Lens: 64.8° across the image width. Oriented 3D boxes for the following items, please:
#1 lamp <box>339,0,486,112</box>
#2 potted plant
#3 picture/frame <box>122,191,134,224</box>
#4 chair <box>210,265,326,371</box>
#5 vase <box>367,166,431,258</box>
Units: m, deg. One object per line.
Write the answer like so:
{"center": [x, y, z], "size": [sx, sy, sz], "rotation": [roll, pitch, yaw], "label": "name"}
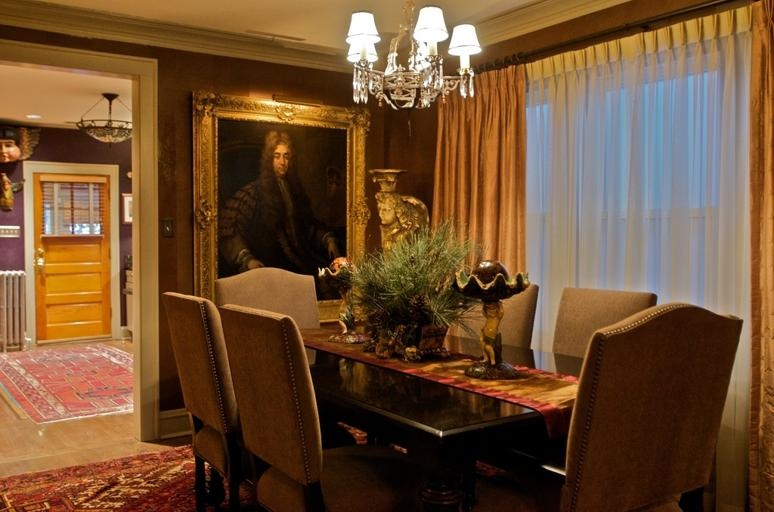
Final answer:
{"center": [0.235, -1.430, 4.306], "size": [0.818, 0.875, 1.517], "rotation": [0, 5, 8], "label": "lamp"}
{"center": [0.266, 0.207, 3.611], "size": [0.812, 0.928, 0.663], "rotation": [-2, 3, -22], "label": "potted plant"}
{"center": [-3.888, -0.712, 9.178], "size": [0.058, 0.454, 0.120], "rotation": [4, 7, 43], "label": "picture/frame"}
{"center": [-0.866, 0.465, 4.580], "size": [0.685, 1.003, 0.560], "rotation": [2, -7, -23], "label": "chair"}
{"center": [0.073, -0.338, 5.529], "size": [0.511, 0.849, 0.482], "rotation": [-5, 10, -27], "label": "vase"}
